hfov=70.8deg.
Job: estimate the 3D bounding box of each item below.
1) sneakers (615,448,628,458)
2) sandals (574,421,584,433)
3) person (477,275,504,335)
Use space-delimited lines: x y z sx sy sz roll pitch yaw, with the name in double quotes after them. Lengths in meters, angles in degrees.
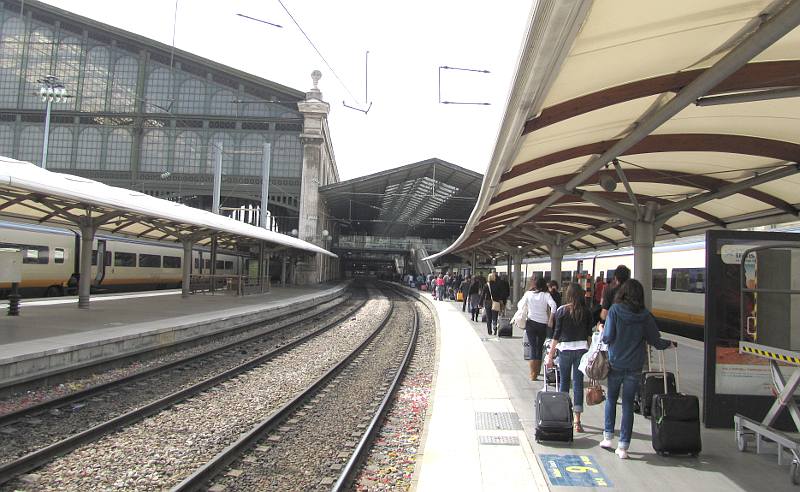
3.598 3.300 9.102 0.208 0.160 0.173 0 -4 14 "sneakers"
3.199 3.173 9.910 0.272 0.161 0.089 1 1 -45 "sandals"
3.071 1.858 18.169 0.819 1.904 0.636 0 -5 20 "person"
